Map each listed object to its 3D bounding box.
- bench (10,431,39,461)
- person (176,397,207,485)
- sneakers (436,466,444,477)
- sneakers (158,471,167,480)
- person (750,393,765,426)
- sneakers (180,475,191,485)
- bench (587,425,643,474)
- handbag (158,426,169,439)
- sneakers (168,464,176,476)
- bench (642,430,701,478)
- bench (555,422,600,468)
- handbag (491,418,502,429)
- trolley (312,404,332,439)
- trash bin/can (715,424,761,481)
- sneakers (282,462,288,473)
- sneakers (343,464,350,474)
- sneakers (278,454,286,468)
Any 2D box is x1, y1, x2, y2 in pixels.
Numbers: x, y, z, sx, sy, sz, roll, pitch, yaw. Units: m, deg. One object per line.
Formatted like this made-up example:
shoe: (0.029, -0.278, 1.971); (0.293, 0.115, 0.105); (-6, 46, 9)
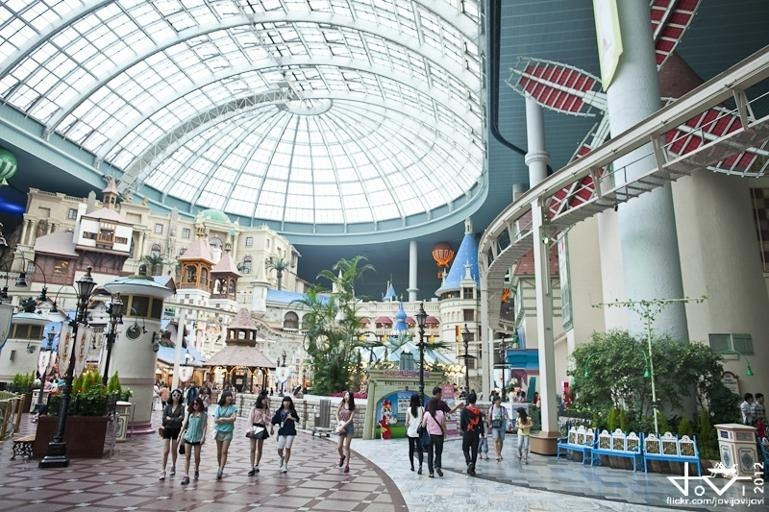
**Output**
bench: (-11.094, 5.828, 15.327); (0.972, 0.690, 0.504); (-7, -12, 43)
person: (-5.333, 5.018, 13.917); (0.637, 2.263, 1.075); (4, -9, -22)
sneakers: (1.579, 6.197, 14.455); (0.123, 0.344, 0.138); (-20, 3, 5)
sneakers: (-6.140, 6.068, 13.843); (0.153, 0.184, 0.445); (15, -36, -27)
person: (11.490, 4.707, 15.446); (0.324, 0.936, 1.007); (-5, -10, 33)
sneakers: (-5.355, 5.962, 13.513); (0.215, 0.217, 0.434); (4, -9, -20)
bench: (6.997, 5.763, 15.133); (1.267, 1.015, 0.513); (-11, -18, 40)
handbag: (-6.276, 4.967, 14.226); (0.368, 0.343, 0.121); (-5, -10, 31)
sneakers: (-6.085, 6.139, 14.387); (0.171, 0.190, 0.490); (6, -23, -20)
bench: (8.432, 5.681, 14.418); (1.318, 1.082, 0.560); (6, -8, -6)
bench: (6.326, 6.104, 16.447); (0.469, 0.951, 1.262); (0, -12, -25)
handbag: (3.707, 5.542, 16.661); (0.394, 0.263, 0.286); (-5, -42, 15)
trolley: (-2.941, 7.448, 23.321); (0.997, 1.606, 0.871); (4, -14, -4)
trash bin/can: (9.799, 5.346, 13.922); (0.893, 1.404, 0.654); (-5, -10, 32)
sneakers: (-3.009, 6.340, 14.967); (0.099, 0.194, 0.283); (19, -43, -15)
sneakers: (-1.176, 6.375, 15.067); (0.152, 0.235, 0.371); (-5, -24, 9)
sneakers: (-3.056, 6.142, 15.008); (0.187, 0.424, 0.172); (13, 4, 20)
